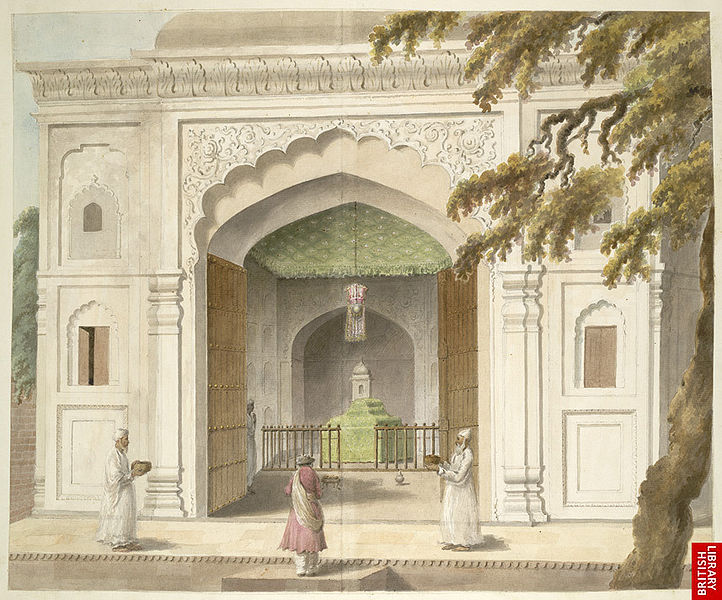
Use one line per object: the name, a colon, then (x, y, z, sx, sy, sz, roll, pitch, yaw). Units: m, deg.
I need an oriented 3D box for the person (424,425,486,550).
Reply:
person: (0.865, 1.634, 13.515, 0.430, 1.072, 0.547, -1, 10, 1)
